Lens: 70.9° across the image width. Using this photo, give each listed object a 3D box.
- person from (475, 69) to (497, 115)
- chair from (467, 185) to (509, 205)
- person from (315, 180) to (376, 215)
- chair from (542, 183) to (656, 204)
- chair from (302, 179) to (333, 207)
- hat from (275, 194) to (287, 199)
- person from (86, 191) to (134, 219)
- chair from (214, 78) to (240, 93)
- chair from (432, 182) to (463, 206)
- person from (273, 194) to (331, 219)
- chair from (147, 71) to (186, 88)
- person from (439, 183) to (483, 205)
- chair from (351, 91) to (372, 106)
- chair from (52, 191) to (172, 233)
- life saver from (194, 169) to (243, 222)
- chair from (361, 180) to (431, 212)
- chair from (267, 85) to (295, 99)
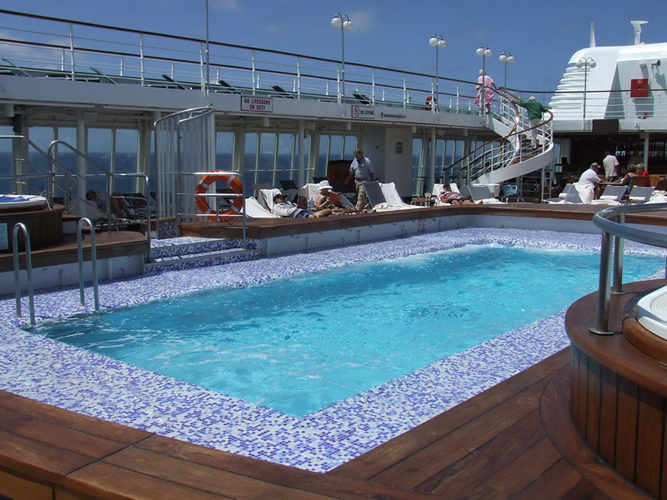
[{"bbox_3d":[5.817,-6.064,18.166,0.574,1.577,0.925,2,2,34],"label":"person"},{"bbox_3d":[4.670,-1.661,14.301,0.984,0.487,1.247,-1,10,-4],"label":"chair"},{"bbox_3d":[-0.069,-1.113,10.757,1.406,0.588,0.649,4,17,28],"label":"person"},{"bbox_3d":[7.401,-1.455,12.910,1.935,0.585,1.337,3,10,30],"label":"chair"},{"bbox_3d":[-0.398,-1.374,11.639,0.755,0.328,0.933,-9,13,-9],"label":"chair"},{"bbox_3d":[-1.065,-1.032,9.401,0.203,0.088,0.132,-9,6,7],"label":"hat"},{"bbox_3d":[-4.186,-0.795,8.649,0.722,0.256,0.720,20,3,23],"label":"person"},{"bbox_3d":[-3.000,-4.546,13.137,0.679,0.396,0.293,0,2,-31],"label":"chair"},{"bbox_3d":[3.132,-1.443,12.885,0.899,0.460,1.136,-4,15,-9],"label":"chair"},{"bbox_3d":[-0.777,-0.780,9.067,1.064,0.356,0.566,1,9,16],"label":"person"},{"bbox_3d":[-4.086,-4.157,11.724,0.555,0.161,0.382,27,22,9],"label":"chair"},{"bbox_3d":[3.186,-1.391,12.565,1.091,0.346,0.787,18,27,37],"label":"person"},{"bbox_3d":[0.964,-4.941,15.547,0.591,0.405,0.341,0,2,-31],"label":"chair"},{"bbox_3d":[-3.823,-0.613,8.048,1.597,0.516,1.024,-2,12,-11],"label":"chair"},{"bbox_3d":[-1.858,-0.823,7.547,0.754,0.763,1.210,1,1,-14],"label":"life saver"},{"bbox_3d":[1.245,-1.225,11.262,0.940,0.513,1.594,6,11,30],"label":"chair"},{"bbox_3d":[-1.510,-4.623,13.797,0.658,0.365,0.314,1,1,-8],"label":"chair"}]
